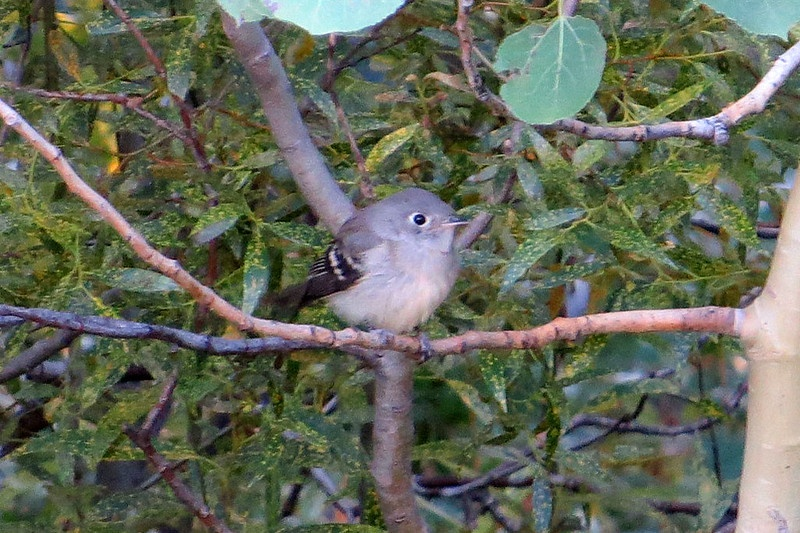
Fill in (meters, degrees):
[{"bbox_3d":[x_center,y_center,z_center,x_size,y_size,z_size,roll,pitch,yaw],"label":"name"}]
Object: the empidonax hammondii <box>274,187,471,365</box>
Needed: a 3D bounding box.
[{"bbox_3d":[-0.141,-0.030,3.545,0.807,0.615,0.488,12,13,34],"label":"empidonax hammondii"}]
